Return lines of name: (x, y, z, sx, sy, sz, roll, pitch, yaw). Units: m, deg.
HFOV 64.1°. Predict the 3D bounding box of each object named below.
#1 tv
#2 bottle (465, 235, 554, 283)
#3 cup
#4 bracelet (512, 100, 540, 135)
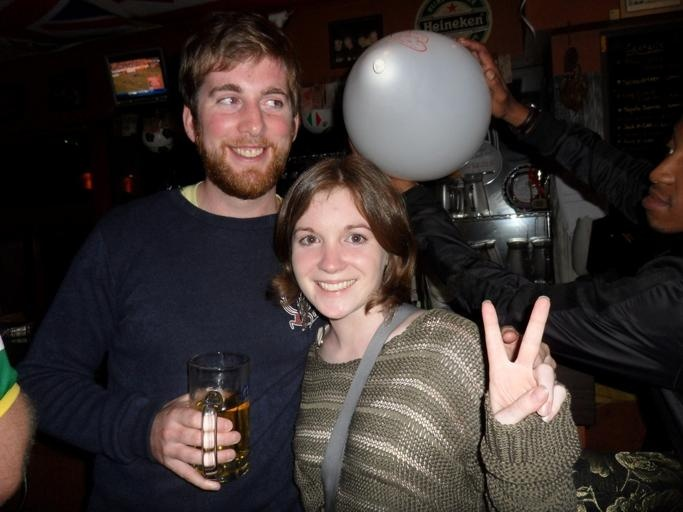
tv: (-2.397, -2.158, 6.529, 0.657, 0.568, 0.076, -2, 25, 12)
bottle: (1.544, 0.021, 4.861, 0.393, 0.311, 0.709, 5, -1, -19)
cup: (-0.470, 0.612, 2.164, 0.238, 0.423, 0.311, -6, 16, -16)
bracelet: (1.082, -0.807, 3.222, 0.161, 0.206, 0.100, 1, -3, 8)
